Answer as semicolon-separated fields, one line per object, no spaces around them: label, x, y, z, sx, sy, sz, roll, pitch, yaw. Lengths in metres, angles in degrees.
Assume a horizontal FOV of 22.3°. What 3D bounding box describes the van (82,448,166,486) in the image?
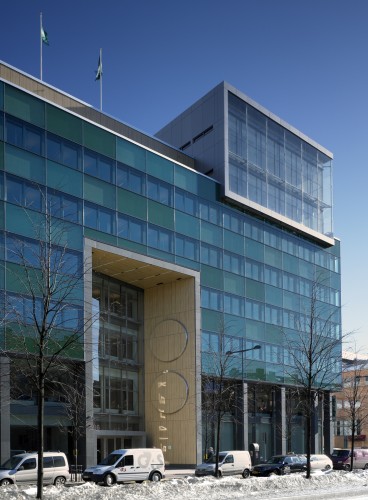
van;-2.860;10.755;45.801;3.369;1.556;1.838;16;-28;-30

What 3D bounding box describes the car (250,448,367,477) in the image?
car;7.474;12.154;53.690;2.071;1.692;9.861;-16;-21;37

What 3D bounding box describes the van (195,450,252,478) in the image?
van;2.305;11.516;50.396;2.568;1.250;1.475;17;-27;-31
